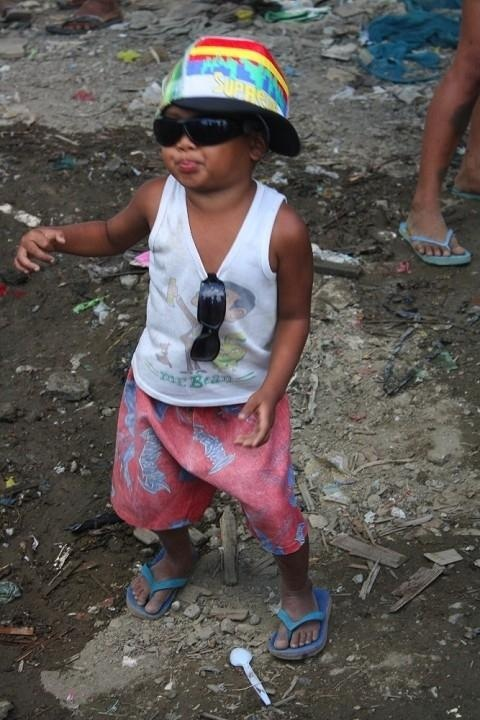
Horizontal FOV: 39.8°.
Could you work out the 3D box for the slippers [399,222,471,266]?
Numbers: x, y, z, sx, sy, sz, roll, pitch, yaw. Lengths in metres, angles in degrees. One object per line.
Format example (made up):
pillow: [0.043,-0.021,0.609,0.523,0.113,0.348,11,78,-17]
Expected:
slippers: [0.921,-0.542,3.121,0.217,0.112,0.225,-24,40,-33]

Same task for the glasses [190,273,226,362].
glasses: [-0.073,-0.090,1.547,0.067,0.212,0.083,15,40,22]

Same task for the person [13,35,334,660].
person: [-0.143,0.062,1.808,0.903,1.668,0.676,7,38,13]

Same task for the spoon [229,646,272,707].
spoon: [0.023,0.899,1.883,0.139,0.071,0.215,8,29,3]

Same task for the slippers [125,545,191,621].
slippers: [-0.250,0.736,2.174,0.132,0.069,0.257,23,48,23]

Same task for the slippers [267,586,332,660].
slippers: [0.193,0.762,1.972,0.147,0.074,0.295,-9,16,21]
